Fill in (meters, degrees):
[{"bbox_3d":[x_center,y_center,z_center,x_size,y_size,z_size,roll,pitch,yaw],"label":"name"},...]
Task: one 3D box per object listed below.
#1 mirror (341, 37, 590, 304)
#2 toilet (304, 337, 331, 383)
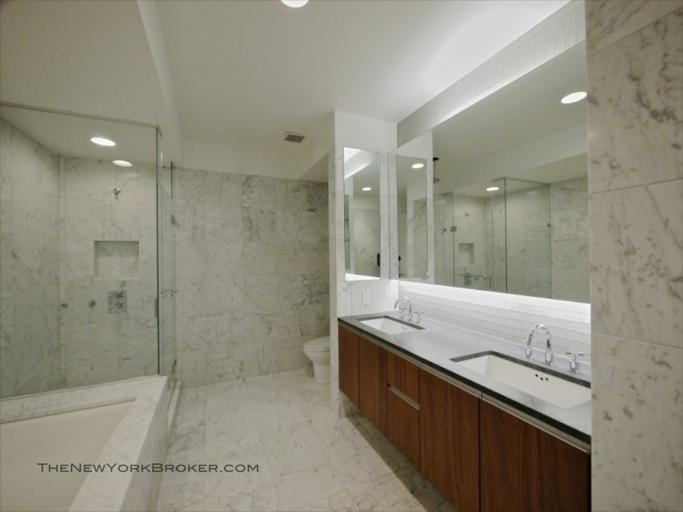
[{"bbox_3d":[0.884,-0.631,3.381,0.502,1.152,1.678,3,-4,-29],"label":"mirror"},{"bbox_3d":[-0.217,1.009,4.686,0.351,0.410,0.408,3,-8,-19],"label":"toilet"}]
